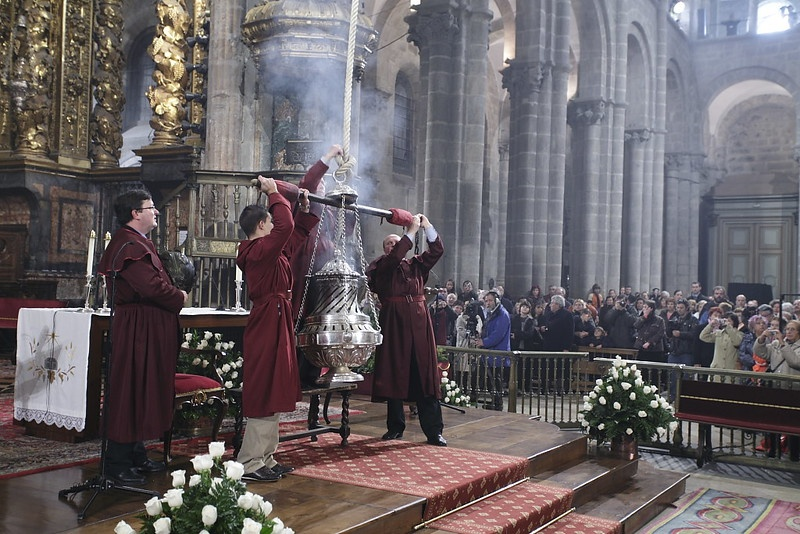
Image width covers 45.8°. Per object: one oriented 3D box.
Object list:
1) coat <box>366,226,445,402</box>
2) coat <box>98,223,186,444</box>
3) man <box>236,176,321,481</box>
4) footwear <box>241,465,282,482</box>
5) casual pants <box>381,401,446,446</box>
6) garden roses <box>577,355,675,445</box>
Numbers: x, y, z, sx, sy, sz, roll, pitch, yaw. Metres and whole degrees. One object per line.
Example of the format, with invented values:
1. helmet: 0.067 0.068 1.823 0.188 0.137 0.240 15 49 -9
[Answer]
1. coat: 0.070 0.824 14.148 1.144 2.708 0.921 -3 1 -5
2. coat: -3.515 0.962 12.818 1.111 2.849 1.358 0 1 -2
3. man: -1.719 0.910 12.419 0.840 3.760 0.355 1 -1 -9
4. footwear: -1.817 2.713 12.450 0.549 0.185 0.193 0 -6 -1
5. casual pants: 0.205 2.337 14.059 0.608 0.683 0.256 -3 -12 15
6. garden roses: 3.695 2.185 15.651 1.496 1.458 1.420 6 -8 -28
